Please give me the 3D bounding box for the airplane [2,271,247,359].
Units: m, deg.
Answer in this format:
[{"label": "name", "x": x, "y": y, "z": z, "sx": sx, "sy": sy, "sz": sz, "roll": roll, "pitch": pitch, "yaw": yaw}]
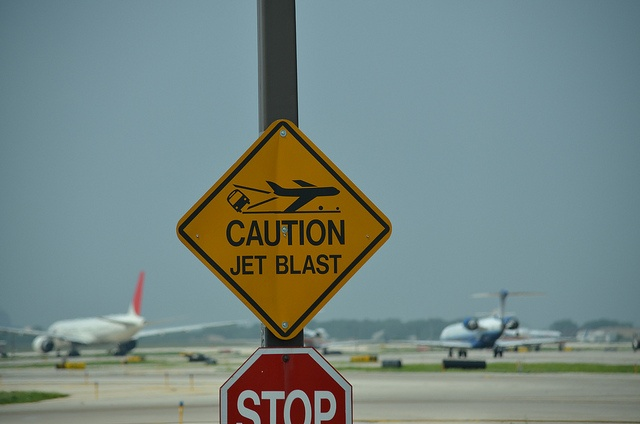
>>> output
[{"label": "airplane", "x": -9.055, "y": 5.468, "z": 54.545, "sx": 4.785, "sy": 2.012, "sz": 6.502, "roll": -3, "pitch": -5, "yaw": 34}]
